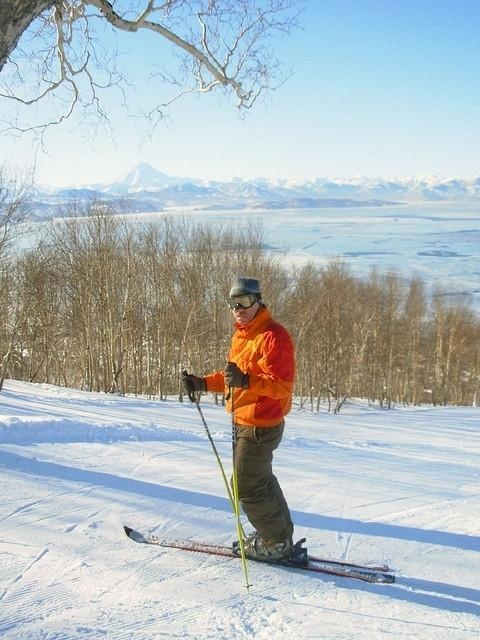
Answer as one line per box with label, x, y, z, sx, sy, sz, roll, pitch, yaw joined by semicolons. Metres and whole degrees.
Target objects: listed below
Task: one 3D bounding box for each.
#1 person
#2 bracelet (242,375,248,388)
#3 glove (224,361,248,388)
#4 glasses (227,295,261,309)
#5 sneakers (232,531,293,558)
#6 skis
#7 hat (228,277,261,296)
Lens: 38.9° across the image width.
person;0.031;0.662;4.534;0.749;1.338;0.670;6;3;21
bracelet;0.038;0.385;4.234;0.022;0.060;0.045;6;-6;-19
glove;-0.030;0.351;4.219;0.158;0.113;0.067;27;21;37
glasses;0.006;-0.114;4.509;0.226;0.076;0.167;5;3;16
sneakers;0.156;1.520;4.660;0.391;0.170;0.150;1;-5;20
skis;0.093;1.611;4.624;1.843;0.171;0.259;3;10;16
hat;0.028;-0.190;4.529;0.137;0.141;0.165;10;26;31
